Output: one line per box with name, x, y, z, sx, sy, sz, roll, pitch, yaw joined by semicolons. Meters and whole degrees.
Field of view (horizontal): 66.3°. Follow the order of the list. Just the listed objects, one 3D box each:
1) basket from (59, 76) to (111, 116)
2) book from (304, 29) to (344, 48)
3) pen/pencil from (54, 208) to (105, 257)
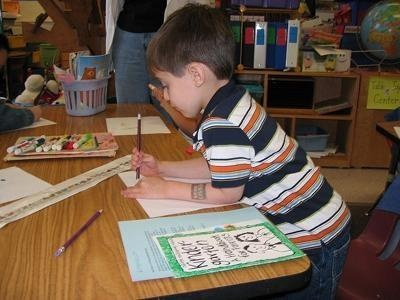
basket;-0.626;-0.307;1.625;0.294;0.212;0.242;-3;11;4
book;1.130;-1.021;2.804;0.265;0.096;0.203;-3;22;-14
pen/pencil;-0.262;0.177;0.718;0.017;0.018;0.209;38;27;5
